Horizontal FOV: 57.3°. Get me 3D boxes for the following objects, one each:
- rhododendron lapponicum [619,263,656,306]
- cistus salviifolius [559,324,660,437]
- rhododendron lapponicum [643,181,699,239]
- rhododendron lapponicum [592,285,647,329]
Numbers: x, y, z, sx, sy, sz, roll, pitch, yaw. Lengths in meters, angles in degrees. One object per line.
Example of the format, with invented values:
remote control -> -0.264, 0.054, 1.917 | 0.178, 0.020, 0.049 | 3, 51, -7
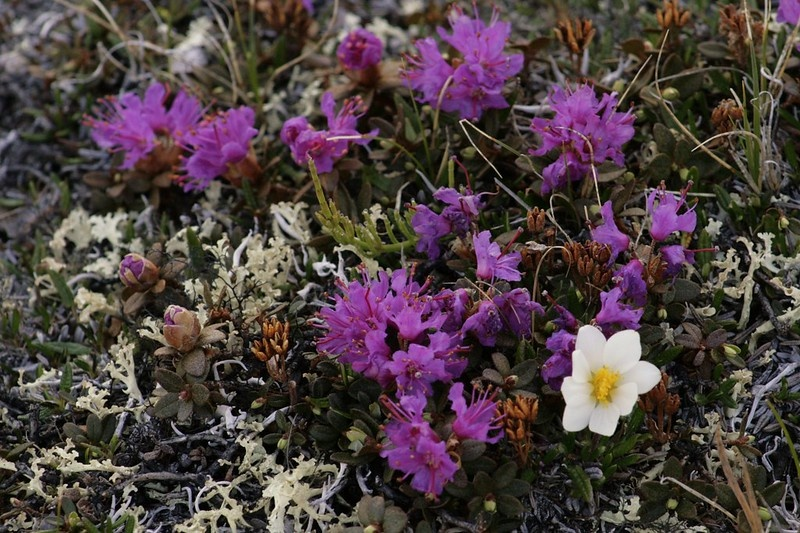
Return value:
rhododendron lapponicum -> 0.884, 0.060, 2.771 | 0.107, 0.171, 0.085 | -3, 3, 20
cistus salviifolius -> 0.752, 0.354, 2.721 | 0.321, 0.441, 0.326 | 1, 7, 2
rhododendron lapponicum -> 1.058, -0.222, 2.883 | 0.163, 0.244, 0.204 | 2, 19, 12
rhododendron lapponicum -> 0.814, 0.159, 2.740 | 0.172, 0.132, 0.142 | -3, -27, 9
